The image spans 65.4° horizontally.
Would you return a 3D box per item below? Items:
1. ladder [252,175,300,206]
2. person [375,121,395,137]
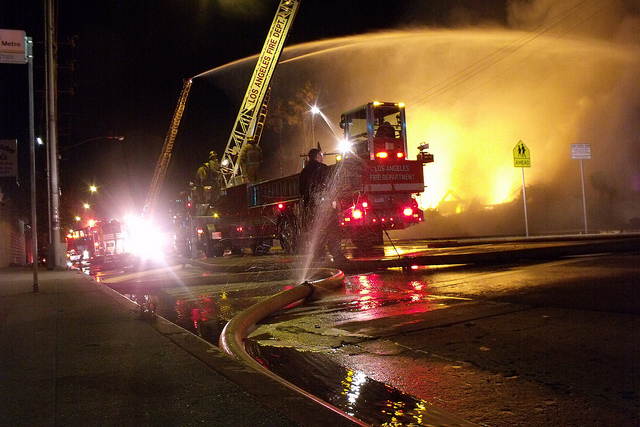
[{"bbox_3d":[-1.863,-1.025,22.166,0.293,1.047,4.051,-4,-5,-40],"label":"ladder"},{"bbox_3d":[2.725,-3.450,20.572,0.664,0.615,1.085,9,-4,-10],"label":"person"}]
